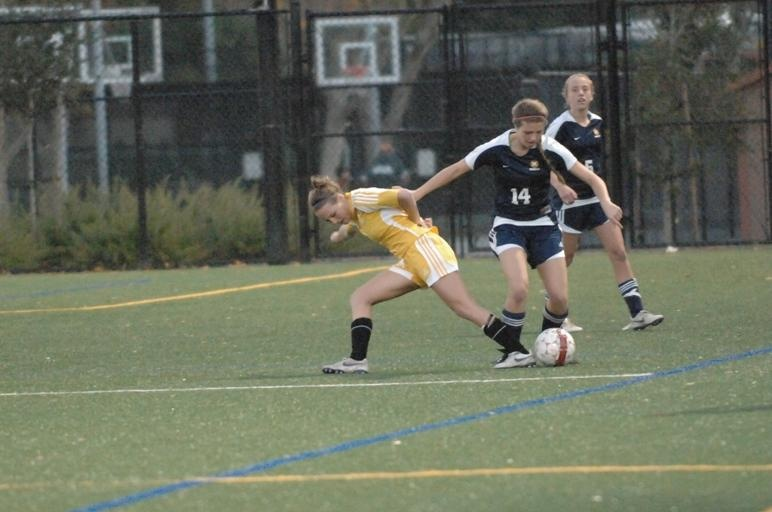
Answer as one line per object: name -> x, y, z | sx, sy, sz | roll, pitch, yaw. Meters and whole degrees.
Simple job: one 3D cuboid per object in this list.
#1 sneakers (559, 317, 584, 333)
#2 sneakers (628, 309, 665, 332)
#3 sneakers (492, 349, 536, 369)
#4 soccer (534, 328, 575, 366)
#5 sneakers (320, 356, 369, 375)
sneakers -> 2.098, 0.771, 14.301 | 0.365, 0.161, 0.127 | 4, 5, 11
sneakers -> 2.841, 0.706, 14.278 | 0.444, 0.228, 0.181 | -16, 19, 17
sneakers -> 1.280, 1.054, 12.990 | 0.429, 0.185, 0.162 | 0, -3, 2
soccer -> 1.681, 0.893, 13.064 | 0.362, 0.380, 0.354 | -9, 8, -33
sneakers -> -0.426, 1.125, 13.076 | 0.479, 0.197, 0.174 | 2, -7, 3
